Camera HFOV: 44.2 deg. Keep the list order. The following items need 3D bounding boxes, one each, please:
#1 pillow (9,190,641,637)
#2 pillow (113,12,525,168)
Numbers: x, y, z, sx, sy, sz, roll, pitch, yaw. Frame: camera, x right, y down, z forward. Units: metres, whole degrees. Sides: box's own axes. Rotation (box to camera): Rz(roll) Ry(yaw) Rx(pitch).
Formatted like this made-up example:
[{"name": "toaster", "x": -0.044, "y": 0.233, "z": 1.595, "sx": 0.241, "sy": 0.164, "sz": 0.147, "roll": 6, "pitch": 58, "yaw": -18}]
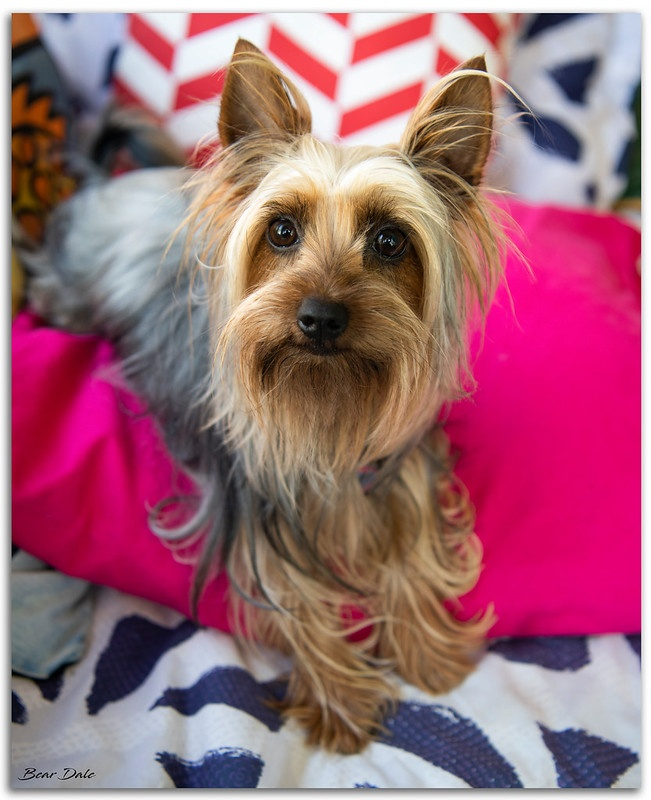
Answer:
[{"name": "pillow", "x": -0.039, "y": -0.081, "z": 1.682, "sx": 0.947, "sy": 0.355, "sz": 1.290, "roll": 3, "pitch": 31, "yaw": 21}, {"name": "pillow", "x": -0.030, "y": -0.619, "z": 1.577, "sx": 0.519, "sy": 0.089, "sz": 0.373, "roll": 0, "pitch": 97, "yaw": -9}]
